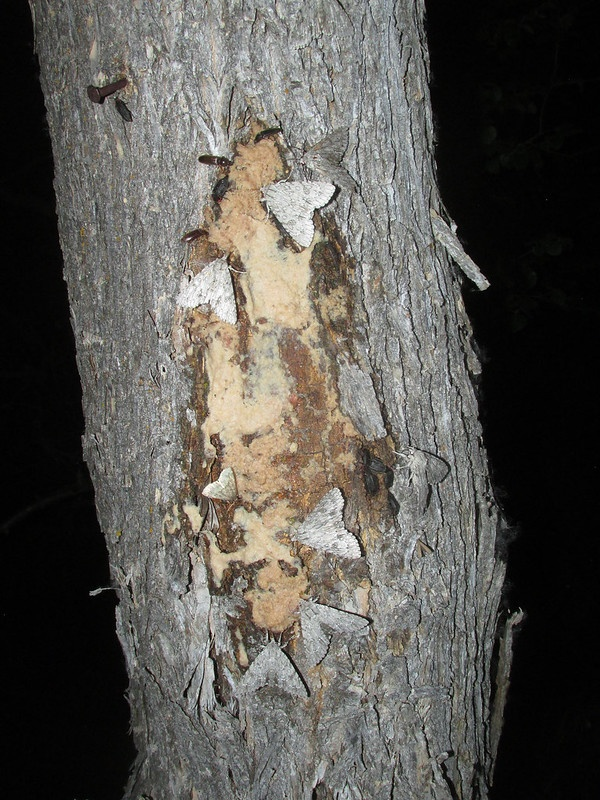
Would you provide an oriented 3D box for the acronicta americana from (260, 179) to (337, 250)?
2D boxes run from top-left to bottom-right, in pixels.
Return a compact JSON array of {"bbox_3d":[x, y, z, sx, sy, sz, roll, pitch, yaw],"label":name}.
[{"bbox_3d":[-0.004,-0.418,2.821,0.166,0.092,0.117,-3,-47,0],"label":"acronicta americana"}]

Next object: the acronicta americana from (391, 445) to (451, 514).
[{"bbox_3d":[0.298,0.193,2.943,0.124,0.184,0.053,6,-19,-18],"label":"acronicta americana"}]

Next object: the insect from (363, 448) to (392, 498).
[{"bbox_3d":[0.185,0.181,2.900,0.073,0.027,0.104,-23,-75,-15],"label":"insect"}]
